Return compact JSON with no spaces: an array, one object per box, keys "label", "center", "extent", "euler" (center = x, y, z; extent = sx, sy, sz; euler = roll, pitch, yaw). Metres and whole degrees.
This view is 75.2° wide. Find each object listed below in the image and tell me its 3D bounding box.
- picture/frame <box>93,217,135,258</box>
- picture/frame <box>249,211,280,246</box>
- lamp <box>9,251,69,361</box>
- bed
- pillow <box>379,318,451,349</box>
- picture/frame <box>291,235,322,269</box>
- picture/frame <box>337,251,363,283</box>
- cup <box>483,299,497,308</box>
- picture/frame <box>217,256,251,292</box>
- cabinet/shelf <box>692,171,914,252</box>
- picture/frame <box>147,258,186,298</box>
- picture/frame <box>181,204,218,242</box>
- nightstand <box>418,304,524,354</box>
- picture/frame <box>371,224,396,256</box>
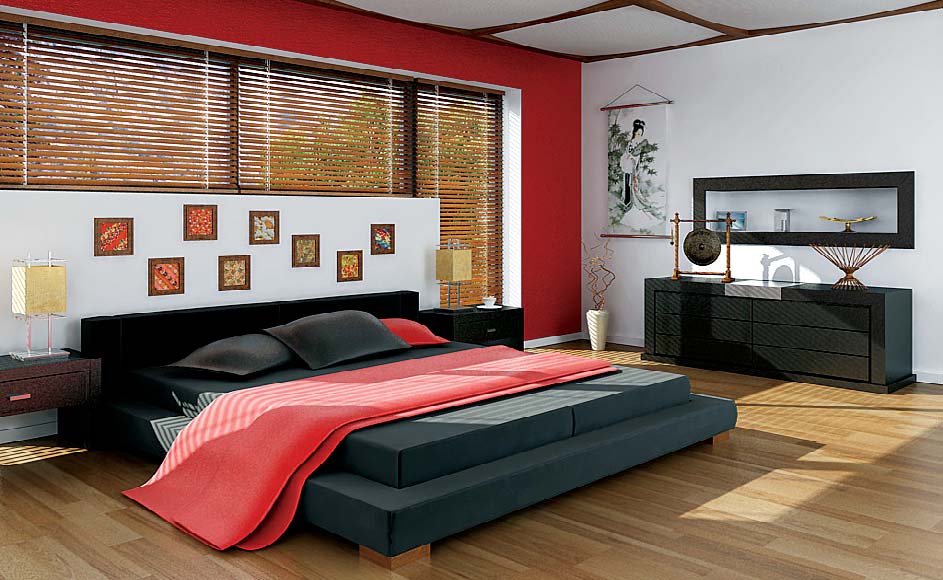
[{"label":"picture/frame","center":[-2.812,-0.414,4.785],"extent":[0.391,0.361,0.031],"euler":[0,0,-43]},{"label":"picture/frame","center":[-1.855,-0.553,5.435],"extent":[0.390,0.360,0.032],"euler":[-1,2,-41]},{"label":"lamp","center":[-3.129,0.117,4.416],"extent":[0.403,0.723,0.442],"euler":[-7,12,-30]},{"label":"bed","center":[-0.756,0.907,4.172],"extent":[2.445,0.637,2.466],"euler":[-4,5,-44]},{"label":"pillow","center":[-0.552,0.342,5.423],"extent":[0.344,0.086,0.380],"euler":[-2,8,-43]},{"label":"picture/frame","center":[-1.546,-0.356,5.664],"extent":[0.392,0.377,0.036],"euler":[0,0,-42]},{"label":"picture/frame","center":[-1.195,-0.229,5.924],"extent":[0.376,0.310,0.036],"euler":[0,-1,-41]},{"label":"cup","center":[0.187,0.140,6.645],"extent":[0.113,0.062,0.104],"euler":[-2,-1,0]},{"label":"picture/frame","center":[-2.074,-0.145,5.306],"extent":[0.370,0.355,0.030],"euler":[-1,1,-36]},{"label":"cabinet/shelf","center":[3.544,-0.851,6.565],"extent":[2.039,0.790,0.369],"euler":[5,12,29]},{"label":"picture/frame","center":[-2.513,-0.106,5.005],"extent":[0.392,0.365,0.031],"euler":[1,-1,-40]},{"label":"picture/frame","center":[-2.298,-0.565,5.139],"extent":[0.396,0.367,0.035],"euler":[0,0,-41]},{"label":"nightstand","center":[-0.027,0.475,6.518],"extent":[0.551,0.579,1.042],"euler":[12,13,39]},{"label":"picture/frame","center":[-0.901,-0.506,6.127],"extent":[0.387,0.346,0.042],"euler":[-1,1,-40]}]
